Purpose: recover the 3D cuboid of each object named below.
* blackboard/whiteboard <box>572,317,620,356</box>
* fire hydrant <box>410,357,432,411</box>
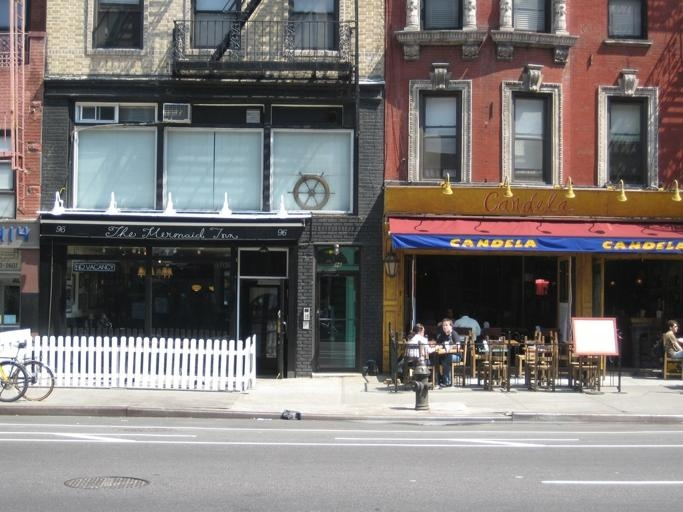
[{"bbox_3d":[6.423,2.095,40.264,1.064,0.838,0.111,0,-9,0],"label":"blackboard/whiteboard"},{"bbox_3d":[1.956,3.174,38.627,0.401,1.267,0.797,1,-6,3],"label":"fire hydrant"}]
